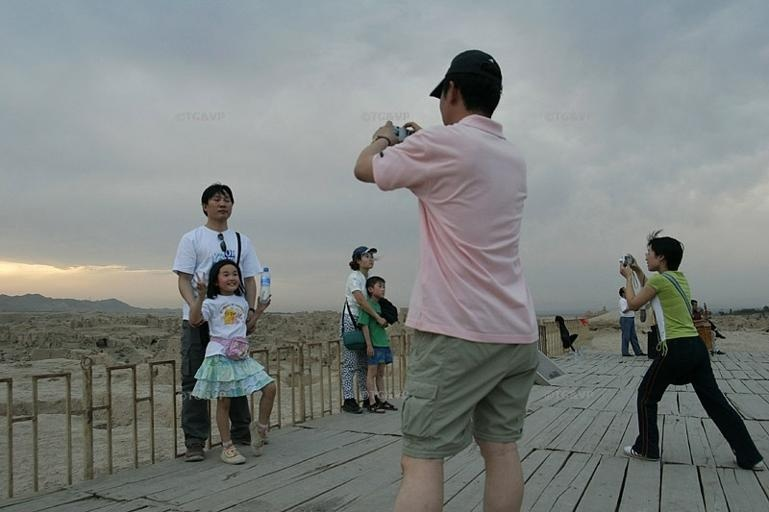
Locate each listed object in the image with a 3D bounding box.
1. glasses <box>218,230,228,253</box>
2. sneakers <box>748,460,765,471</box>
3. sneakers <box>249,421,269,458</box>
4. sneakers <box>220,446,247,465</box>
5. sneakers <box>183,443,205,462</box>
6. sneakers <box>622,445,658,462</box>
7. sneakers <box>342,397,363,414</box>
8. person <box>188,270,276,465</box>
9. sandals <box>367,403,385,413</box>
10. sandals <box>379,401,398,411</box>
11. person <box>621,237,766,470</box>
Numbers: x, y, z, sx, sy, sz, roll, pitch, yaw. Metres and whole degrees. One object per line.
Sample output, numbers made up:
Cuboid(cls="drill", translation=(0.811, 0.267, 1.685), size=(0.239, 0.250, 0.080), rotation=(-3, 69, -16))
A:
Cuboid(cls="glasses", translation=(-1.754, -0.166, 5.608), size=(0.099, 0.214, 0.054), rotation=(-7, -2, -34))
Cuboid(cls="sneakers", translation=(3.562, 2.010, 4.965), size=(0.120, 0.037, 0.090), rotation=(-4, 2, -3))
Cuboid(cls="sneakers", translation=(-1.329, 1.939, 5.508), size=(0.175, 0.435, 0.150), rotation=(-7, -7, 17))
Cuboid(cls="sneakers", translation=(-1.514, 2.000, 5.225), size=(0.312, 0.138, 0.123), rotation=(0, -2, 43))
Cuboid(cls="sneakers", translation=(-1.946, 2.019, 5.324), size=(0.205, 0.157, 0.190), rotation=(-1, -4, -21))
Cuboid(cls="sneakers", translation=(2.571, 1.990, 5.228), size=(0.249, 0.104, 0.101), rotation=(11, -6, 38))
Cuboid(cls="sneakers", translation=(-0.420, 2.084, 7.196), size=(0.333, 0.248, 0.121), rotation=(0, -2, 24))
Cuboid(cls="person", translation=(-1.559, 1.058, 5.346), size=(0.801, 2.064, 0.495), rotation=(-1, -4, -27))
Cuboid(cls="sandals", translation=(-0.116, 2.112, 7.150), size=(0.096, 0.081, 0.199), rotation=(4, -9, -38))
Cuboid(cls="sandals", translation=(0.041, 2.113, 7.252), size=(0.263, 0.107, 0.114), rotation=(-4, -5, 24))
Cuboid(cls="person", translation=(2.919, 0.915, 5.173), size=(1.103, 2.347, 0.641), rotation=(-5, -4, 27))
